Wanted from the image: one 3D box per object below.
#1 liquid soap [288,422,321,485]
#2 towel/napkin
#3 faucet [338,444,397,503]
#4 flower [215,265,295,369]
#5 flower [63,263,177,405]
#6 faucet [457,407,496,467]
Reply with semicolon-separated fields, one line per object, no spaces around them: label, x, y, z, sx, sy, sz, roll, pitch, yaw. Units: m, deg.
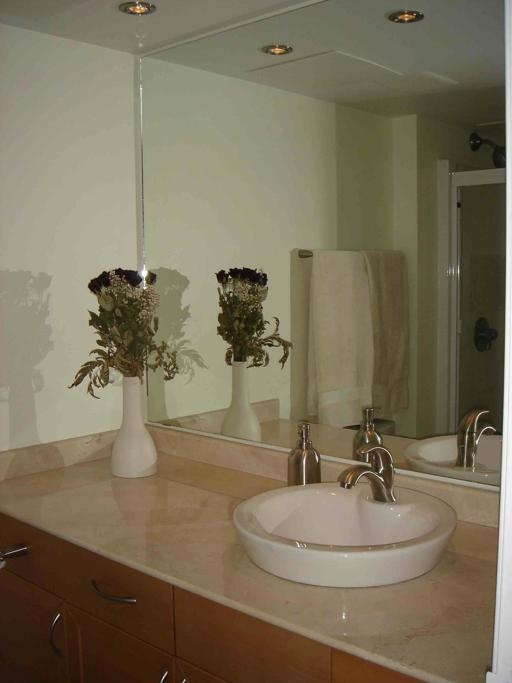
liquid soap;0.102;0.266;1.263;0.067;0.173;0.066;3;4;-2
towel/napkin;0.228;-0.008;1.367;0.057;0.426;0.283;-9;7;-43
faucet;0.205;0.248;1.059;0.147;0.120;0.045;-7;12;-42
flower;-0.017;-0.019;1.630;0.247;0.383;0.145;5;-15;6
flower;-0.358;0.016;1.647;0.269;0.414;0.341;-7;-5;-3
faucet;0.431;0.193;1.135;0.027;0.121;0.079;-8;6;-32
